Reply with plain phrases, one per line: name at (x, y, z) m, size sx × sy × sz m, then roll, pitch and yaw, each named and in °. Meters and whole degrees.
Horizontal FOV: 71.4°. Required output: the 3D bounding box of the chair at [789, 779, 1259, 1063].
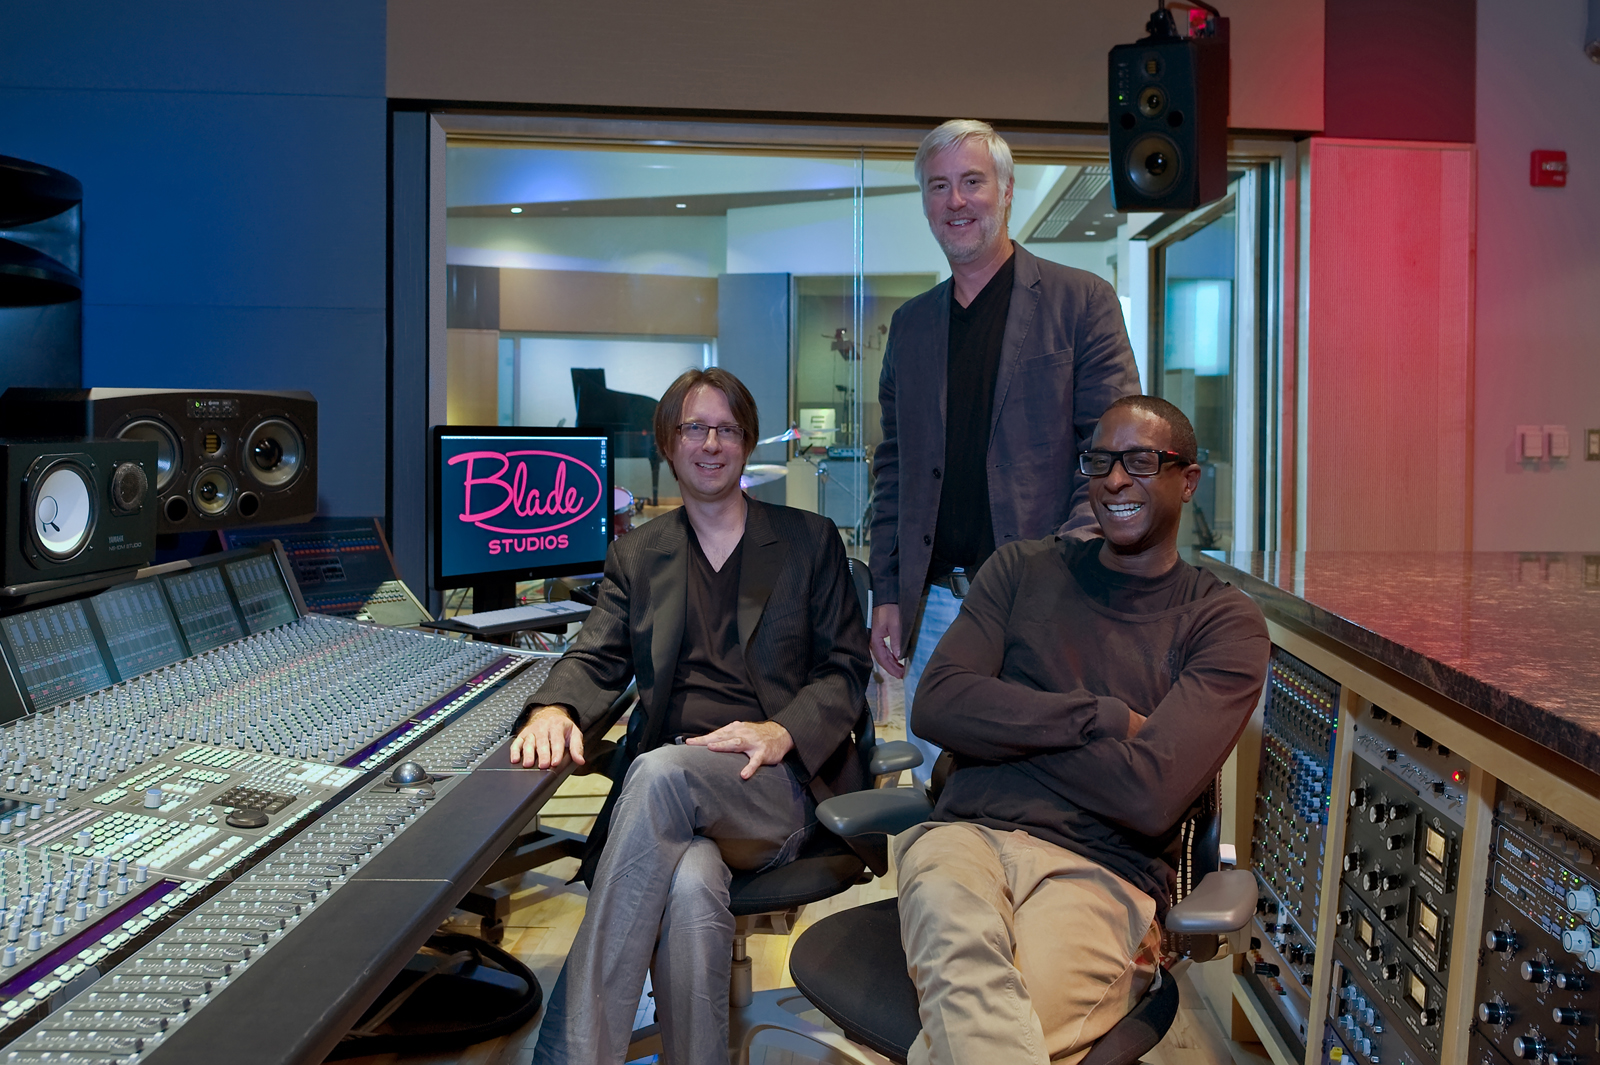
chair at (0.499, 0.853, 2.298) m, size 0.718 × 0.770 × 0.683 m, roll -3°, pitch -10°, yaw 41°

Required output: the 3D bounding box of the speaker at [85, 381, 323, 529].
speaker at (-1.571, -0.187, 3.047) m, size 0.532 × 0.359 × 0.301 m, roll -2°, pitch -1°, yaw -17°

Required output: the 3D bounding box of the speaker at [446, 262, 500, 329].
speaker at (-1.314, -0.945, 4.456) m, size 0.095 × 0.259 × 0.303 m, roll 2°, pitch 6°, yaw 18°
